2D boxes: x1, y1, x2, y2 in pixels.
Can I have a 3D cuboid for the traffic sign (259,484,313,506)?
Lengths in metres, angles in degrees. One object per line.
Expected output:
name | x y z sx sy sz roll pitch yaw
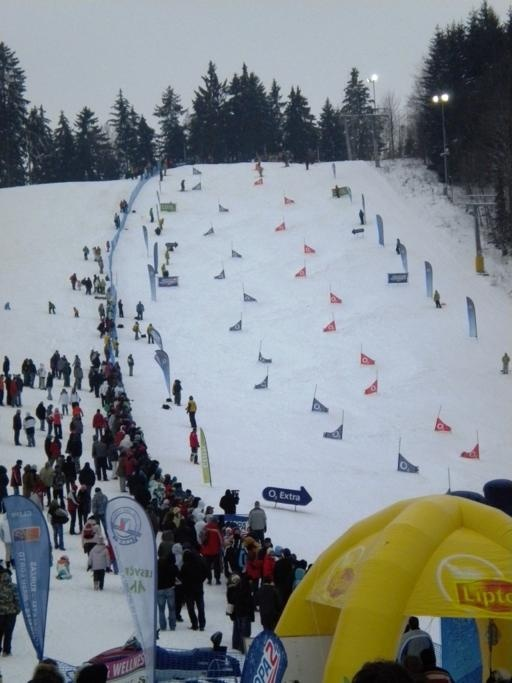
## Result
traffic sign | 0.552 2.873 29.749 1.076 0.331 0.251 1 2 37

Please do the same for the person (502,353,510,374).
person | 6.423 0.603 41.175 0.231 0.515 1.068 0 2 8

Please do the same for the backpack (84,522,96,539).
backpack | -2.574 2.946 24.818 0.132 0.271 0.135 1 -31 1
